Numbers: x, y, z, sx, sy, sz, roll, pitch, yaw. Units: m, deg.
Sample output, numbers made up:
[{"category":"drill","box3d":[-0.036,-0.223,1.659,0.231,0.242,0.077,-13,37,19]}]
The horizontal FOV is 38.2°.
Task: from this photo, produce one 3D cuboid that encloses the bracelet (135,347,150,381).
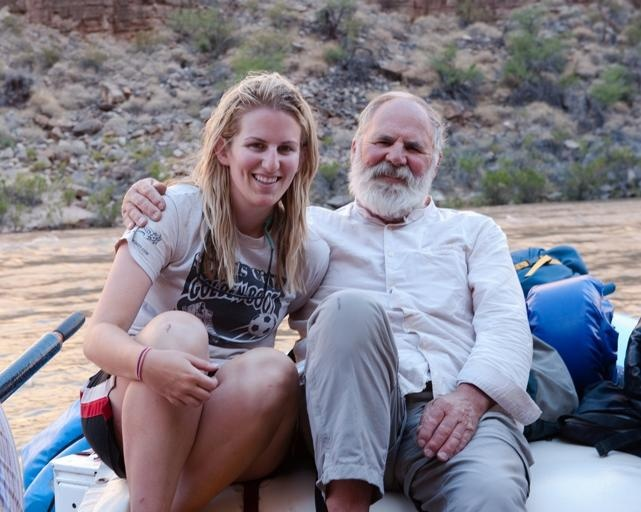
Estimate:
[{"category":"bracelet","box3d":[-0.757,0.465,3.955,0.036,0.137,0.058,7,12,26]}]
